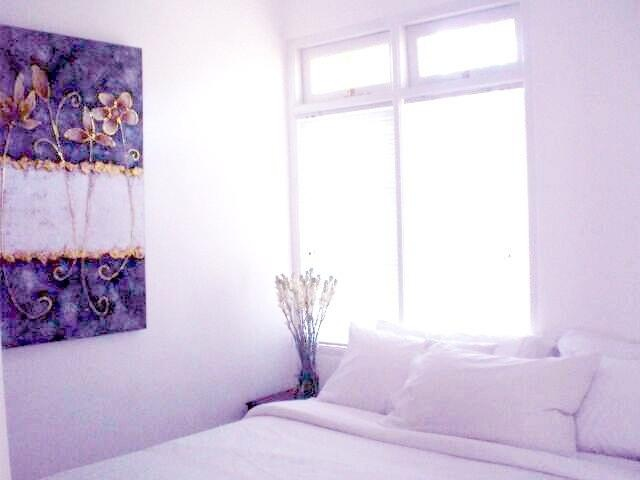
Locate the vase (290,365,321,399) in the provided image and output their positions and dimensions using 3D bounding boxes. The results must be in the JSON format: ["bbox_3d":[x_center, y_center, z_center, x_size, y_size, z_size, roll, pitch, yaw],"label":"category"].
[{"bbox_3d":[-0.089,0.976,3.418,0.159,0.234,0.219,-5,-12,24],"label":"vase"}]
